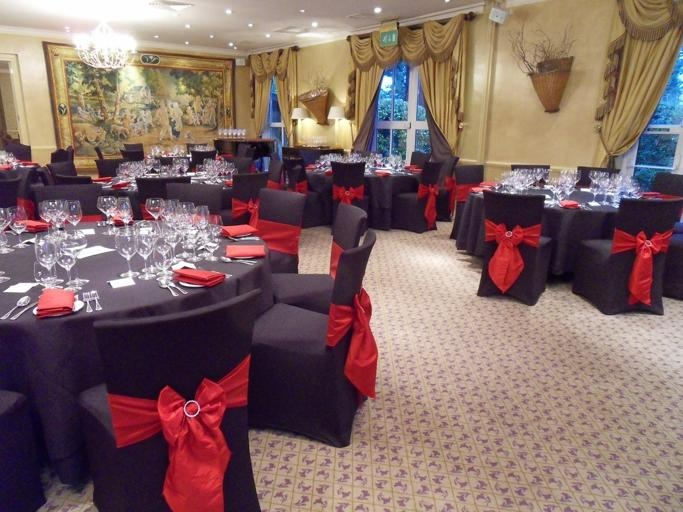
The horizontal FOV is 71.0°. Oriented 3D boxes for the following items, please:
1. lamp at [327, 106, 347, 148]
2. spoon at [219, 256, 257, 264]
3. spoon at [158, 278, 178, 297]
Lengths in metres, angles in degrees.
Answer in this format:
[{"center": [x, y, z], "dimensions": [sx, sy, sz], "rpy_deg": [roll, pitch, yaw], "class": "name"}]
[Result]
[{"center": [-0.113, -2.671, 9.934], "dimensions": [0.358, 0.863, 0.399], "rpy_deg": [-1, 8, 15], "class": "lamp"}, {"center": [-0.618, 0.021, 2.848], "dimensions": [0.126, 0.024, 0.034], "rpy_deg": [3, 40, -9], "class": "spoon"}, {"center": [-0.907, 0.150, 2.499], "dimensions": [0.060, 0.054, 0.292], "rpy_deg": [-23, 20, -17], "class": "spoon"}]
